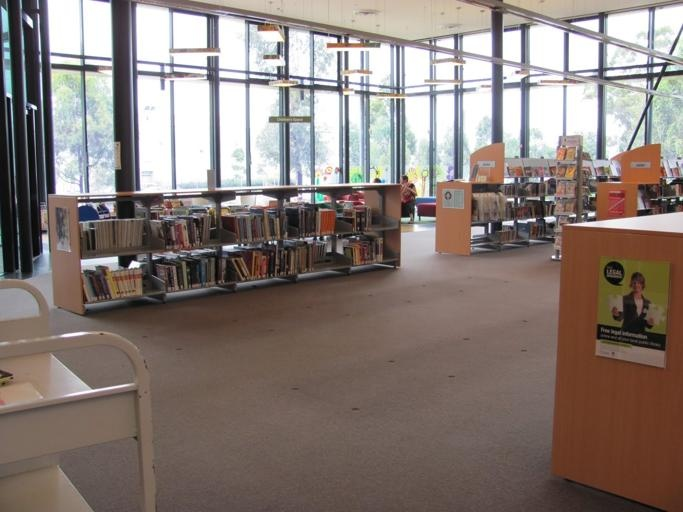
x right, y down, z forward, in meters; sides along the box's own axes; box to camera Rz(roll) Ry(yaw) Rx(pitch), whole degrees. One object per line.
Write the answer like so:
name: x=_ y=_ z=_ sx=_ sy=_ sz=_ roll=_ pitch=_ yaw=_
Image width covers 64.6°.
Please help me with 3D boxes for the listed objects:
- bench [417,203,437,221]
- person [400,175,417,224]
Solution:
bench: x=2.810 y=-1.489 z=17.815 sx=0.571 sy=0.507 sz=0.614 roll=-1 pitch=8 yaw=1
person: x=2.140 y=-1.720 z=17.246 sx=0.420 sy=1.270 sz=0.640 roll=-2 pitch=8 yaw=6
